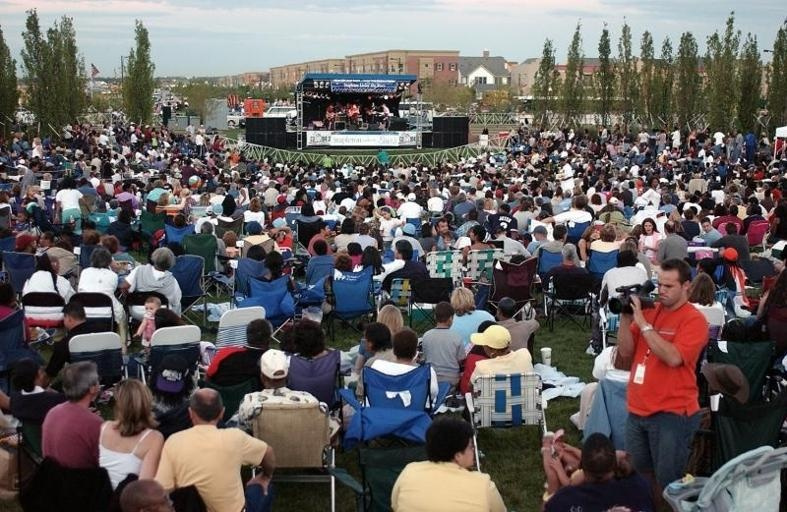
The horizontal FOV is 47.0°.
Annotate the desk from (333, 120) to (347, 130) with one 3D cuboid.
[{"bbox_3d":[-2.754,-6.655,45.966,0.620,0.685,0.511,0,19,-1],"label":"desk"}]

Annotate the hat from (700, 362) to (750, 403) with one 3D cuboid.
[{"bbox_3d":[3.983,1.547,10.846,0.577,0.525,0.382,0,10,8],"label":"hat"}]

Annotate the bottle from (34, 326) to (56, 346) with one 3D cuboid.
[{"bbox_3d":[-5.217,1.166,13.368,0.162,0.226,0.502,7,-10,-43],"label":"bottle"}]

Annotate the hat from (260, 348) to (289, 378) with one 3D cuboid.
[{"bbox_3d":[-1.392,1.251,10.532,0.326,0.313,0.281,-3,10,-12],"label":"hat"}]

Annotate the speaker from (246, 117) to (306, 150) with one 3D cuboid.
[{"bbox_3d":[-5.852,-5.895,43.901,1.936,1.951,0.860,-3,6,-41],"label":"speaker"}]

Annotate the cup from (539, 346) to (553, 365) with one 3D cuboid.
[{"bbox_3d":[2.253,1.459,13.386,0.199,0.316,0.225,-1,12,-13],"label":"cup"}]

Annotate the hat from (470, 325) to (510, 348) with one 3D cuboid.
[{"bbox_3d":[1.231,1.027,11.524,0.270,0.346,0.567,-6,11,-25],"label":"hat"}]
